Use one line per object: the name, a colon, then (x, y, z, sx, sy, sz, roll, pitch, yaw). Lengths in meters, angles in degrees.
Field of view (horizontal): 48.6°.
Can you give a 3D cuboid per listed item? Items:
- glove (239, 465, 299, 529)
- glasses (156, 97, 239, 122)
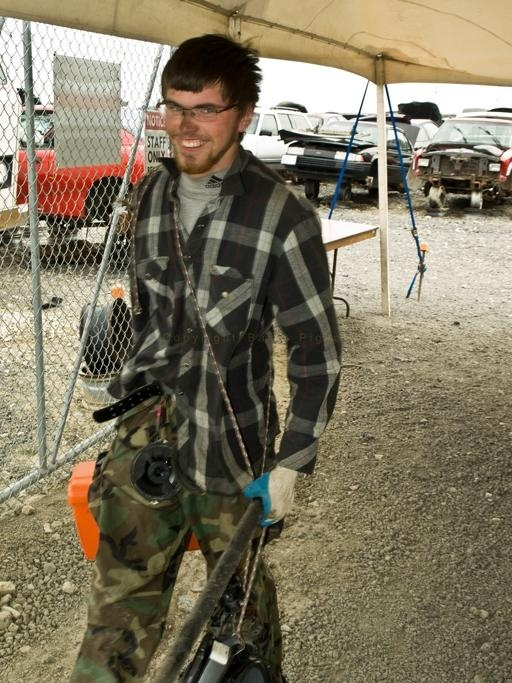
glove: (0.026, 0.330, 1.202, 0.068, 0.103, 0.161, 9, 14, 25)
glasses: (-0.153, -0.525, 1.300, 0.207, 0.055, 0.085, 7, 14, 21)
